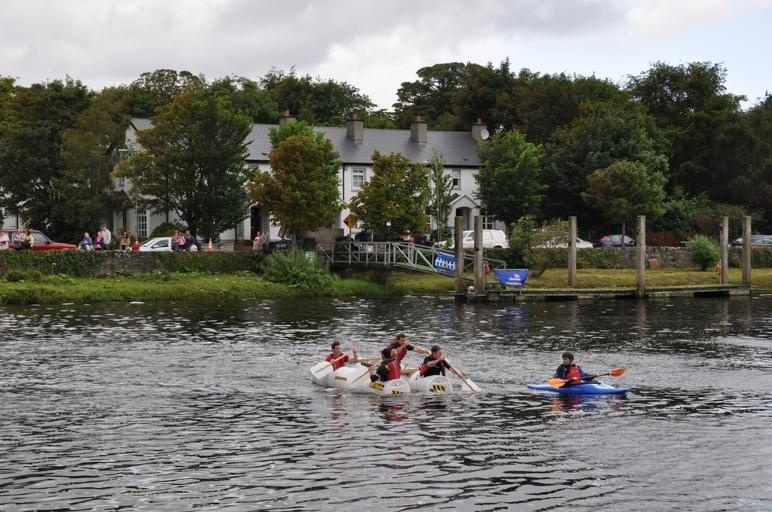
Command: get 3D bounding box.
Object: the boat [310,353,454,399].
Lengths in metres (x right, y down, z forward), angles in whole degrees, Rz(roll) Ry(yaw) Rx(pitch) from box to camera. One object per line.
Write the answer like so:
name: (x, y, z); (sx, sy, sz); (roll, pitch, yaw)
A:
boat: (-0.670, 6.557, 75.797); (5.002, 1.602, 7.448); (2, 4, -42)

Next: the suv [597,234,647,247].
suv: (20.264, -1.257, 122.581); (2.320, 1.060, 1.380); (-3, 5, 1)

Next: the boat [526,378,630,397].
boat: (10.205, 6.993, 74.187); (5.257, 0.857, 1.688); (-3, -3, 12)

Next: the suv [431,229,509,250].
suv: (7.765, -1.733, 116.964); (5.124, 2.077, 2.410); (3, -3, -17)
